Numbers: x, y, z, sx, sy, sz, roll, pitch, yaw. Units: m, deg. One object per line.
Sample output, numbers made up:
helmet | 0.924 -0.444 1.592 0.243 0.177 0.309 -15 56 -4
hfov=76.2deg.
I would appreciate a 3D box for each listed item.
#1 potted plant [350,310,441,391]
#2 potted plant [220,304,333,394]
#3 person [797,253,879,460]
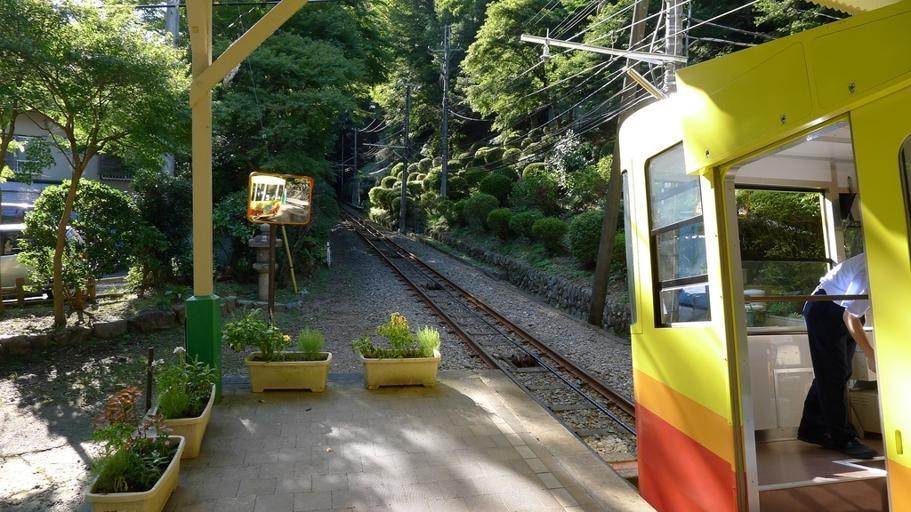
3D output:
potted plant | -1.054 1.649 10.707 1.428 1.230 1.843 0 -1 -7
potted plant | -3.004 1.305 10.142 2.251 1.554 1.321 1 -10 -9
person | 4.833 1.291 7.371 0.772 2.592 1.055 0 -1 23
